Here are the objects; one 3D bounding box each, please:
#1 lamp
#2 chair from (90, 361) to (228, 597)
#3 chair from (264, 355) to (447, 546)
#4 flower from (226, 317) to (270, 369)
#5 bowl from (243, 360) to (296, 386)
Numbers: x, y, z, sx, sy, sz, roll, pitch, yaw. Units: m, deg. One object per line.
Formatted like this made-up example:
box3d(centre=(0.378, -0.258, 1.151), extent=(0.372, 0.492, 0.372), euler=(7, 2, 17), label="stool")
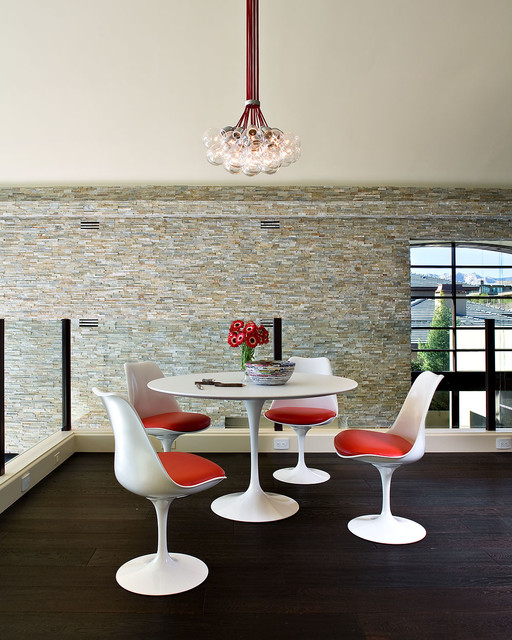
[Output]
box3d(centre=(-0.022, -1.181, 3.201), extent=(0.482, 0.808, 0.298), euler=(2, 7, 12), label="lamp")
box3d(centre=(-0.432, 0.733, 2.772), extent=(0.464, 0.916, 0.509), euler=(7, 9, 44), label="chair")
box3d(centre=(0.496, 0.732, 3.678), extent=(0.857, 1.127, 0.831), euler=(1, -1, -4), label="chair")
box3d(centre=(-0.036, 0.158, 3.621), extent=(0.205, 0.205, 0.204), euler=(9, 0, 12), label="flower")
box3d(centre=(0.061, 0.292, 3.436), extent=(0.180, 0.070, 0.181), euler=(-1, -3, 0), label="bowl")
